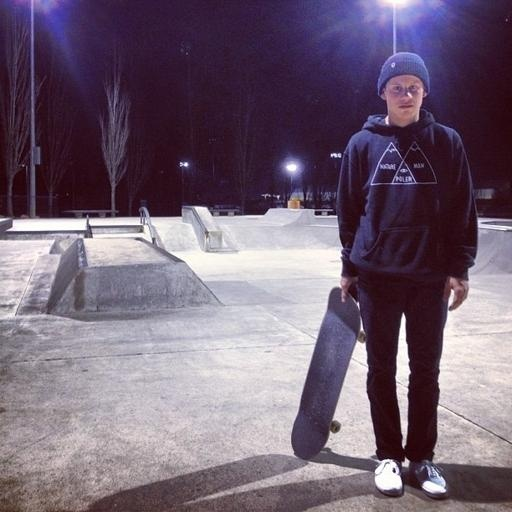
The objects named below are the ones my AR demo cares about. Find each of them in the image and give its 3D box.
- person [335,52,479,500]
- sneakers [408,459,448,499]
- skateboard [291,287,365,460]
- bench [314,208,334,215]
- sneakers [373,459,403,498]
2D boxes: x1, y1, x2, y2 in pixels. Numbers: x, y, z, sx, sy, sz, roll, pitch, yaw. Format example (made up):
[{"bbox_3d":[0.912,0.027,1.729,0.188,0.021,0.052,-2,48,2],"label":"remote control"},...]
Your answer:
[{"bbox_3d":[0.611,0.036,1.958,0.599,1.841,0.441,4,7,30],"label":"person"},{"bbox_3d":[0.711,0.916,1.908,0.103,0.101,0.212,1,8,-6],"label":"sneakers"},{"bbox_3d":[0.357,0.534,2.130,0.217,1.038,0.145,15,6,35],"label":"skateboard"},{"bbox_3d":[5.206,-3.313,34.760,1.352,0.497,3.404,3,9,8],"label":"bench"},{"bbox_3d":[0.565,0.918,1.910,0.139,0.103,0.152,1,8,-3],"label":"sneakers"}]
